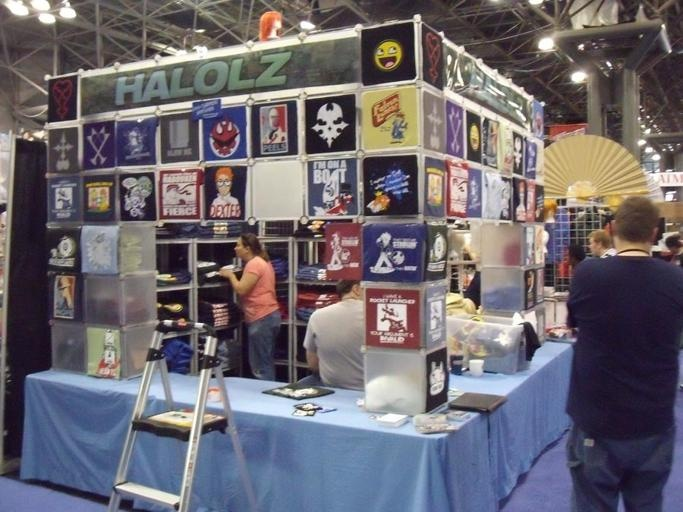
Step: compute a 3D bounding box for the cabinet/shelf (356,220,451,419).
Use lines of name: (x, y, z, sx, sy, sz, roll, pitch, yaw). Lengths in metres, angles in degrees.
cabinet/shelf: (0.427, 0.408, 3.953, 0.599, 1.262, 0.343, 1, -2, 2)

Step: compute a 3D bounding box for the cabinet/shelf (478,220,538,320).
cabinet/shelf: (1.593, 0.143, 5.686, 0.336, 0.990, 0.831, -2, -9, 32)

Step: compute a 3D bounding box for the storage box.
storage box: (1.268, 0.746, 5.049, 0.632, 0.314, 0.434, -1, -2, 30)

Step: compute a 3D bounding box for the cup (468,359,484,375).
cup: (1.107, 0.920, 4.869, 0.124, 0.097, 0.096, 1, -1, 19)
